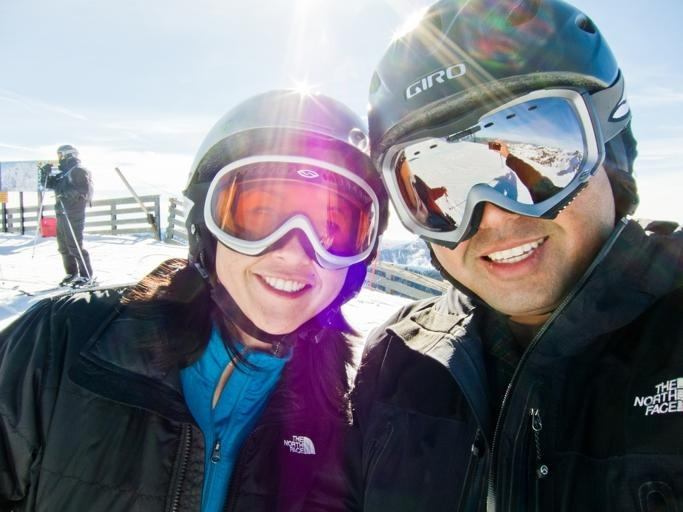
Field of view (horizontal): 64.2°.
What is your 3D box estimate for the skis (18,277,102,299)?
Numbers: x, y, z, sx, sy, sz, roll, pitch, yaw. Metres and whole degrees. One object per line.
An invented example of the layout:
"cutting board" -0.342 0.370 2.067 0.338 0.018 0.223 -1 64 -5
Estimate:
"skis" -3.037 0.326 5.780 0.232 0.244 2.058 -12 5 -39
